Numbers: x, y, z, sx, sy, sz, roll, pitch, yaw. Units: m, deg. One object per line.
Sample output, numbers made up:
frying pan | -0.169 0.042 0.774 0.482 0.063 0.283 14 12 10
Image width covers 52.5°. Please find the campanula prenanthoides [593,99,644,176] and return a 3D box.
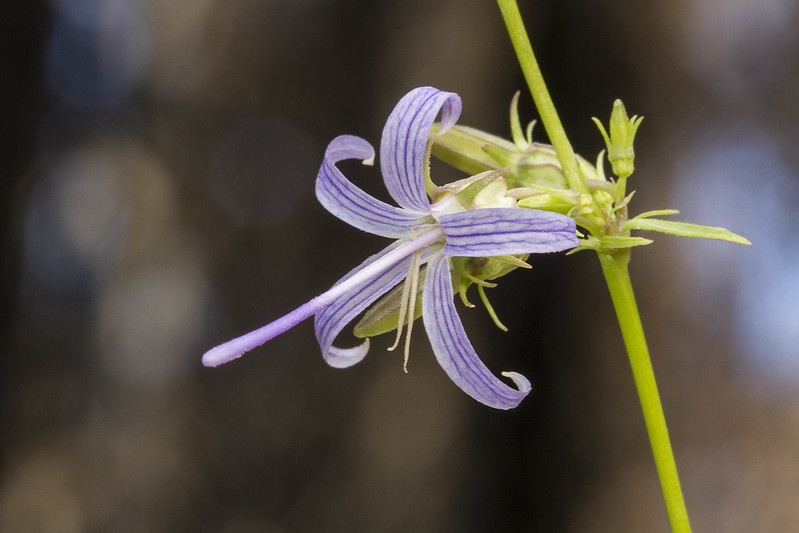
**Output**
campanula prenanthoides | 0.465 -0.273 1.710 0.087 0.104 0.169 -3 91 20
